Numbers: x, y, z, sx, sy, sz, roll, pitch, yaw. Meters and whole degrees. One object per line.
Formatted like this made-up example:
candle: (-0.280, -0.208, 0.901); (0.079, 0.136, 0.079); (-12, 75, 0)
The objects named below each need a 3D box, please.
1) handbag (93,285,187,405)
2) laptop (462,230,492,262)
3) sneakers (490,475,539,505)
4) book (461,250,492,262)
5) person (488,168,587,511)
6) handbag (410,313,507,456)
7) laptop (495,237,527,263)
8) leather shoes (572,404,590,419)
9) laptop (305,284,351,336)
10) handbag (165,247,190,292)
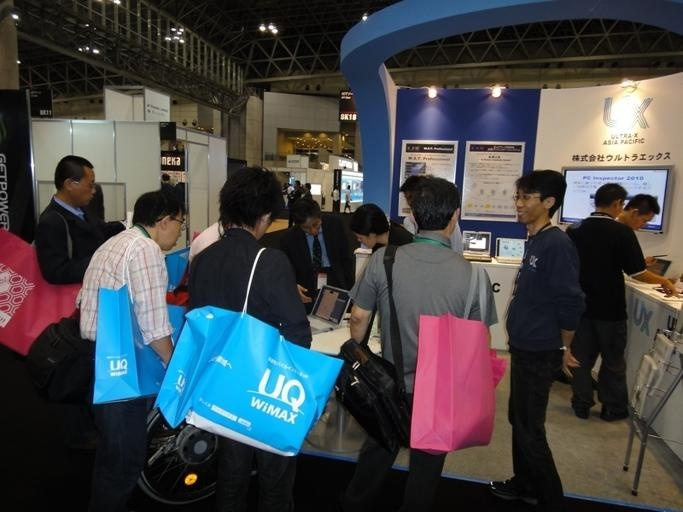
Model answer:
handbag: (-0.989, 0.428, 2.409); (0.198, 0.523, 0.523); (-8, -7, 14)
laptop: (1.488, -0.123, 5.501); (0.366, 0.330, 0.364); (3, -12, 8)
sneakers: (1.042, 1.431, 3.104); (0.311, 0.168, 0.123); (8, 8, 14)
book: (1.433, 0.003, 5.292); (0.237, 0.062, 0.223); (-1, 6, -24)
person: (1.177, 0.517, 2.925); (0.354, 2.001, 0.625); (2, 10, -9)
handbag: (0.519, 0.582, 2.316); (0.392, 0.628, 0.242); (4, 10, -1)
laptop: (1.714, -0.055, 5.089); (0.221, 0.226, 0.125); (4, 7, 17)
leather shoes: (1.921, 1.233, 4.011); (0.120, 0.118, 0.101); (-1, 2, -32)
laptop: (-0.096, 0.374, 3.503); (0.281, 0.309, 0.181); (2, -9, 29)
handbag: (-1.006, 0.089, 3.041); (0.221, 0.228, 0.086); (-7, 27, -44)
